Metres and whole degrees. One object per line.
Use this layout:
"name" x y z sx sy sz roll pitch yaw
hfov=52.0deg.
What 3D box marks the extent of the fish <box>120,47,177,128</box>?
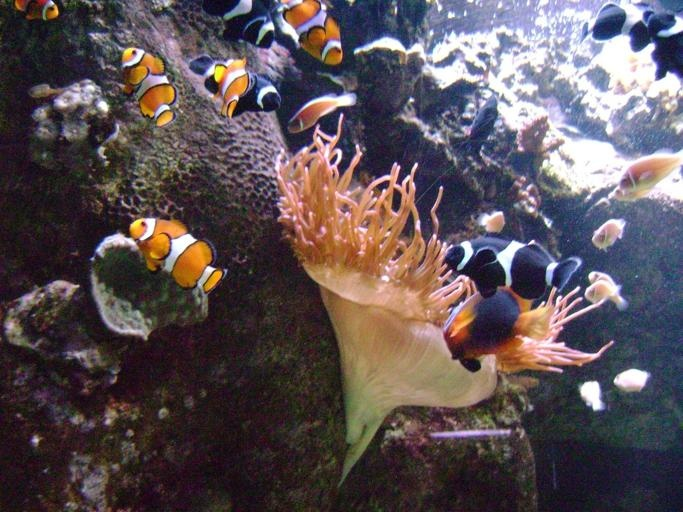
"fish" -1.375 -1.226 5.192 0.337 0.309 0.596 -23 87 -5
